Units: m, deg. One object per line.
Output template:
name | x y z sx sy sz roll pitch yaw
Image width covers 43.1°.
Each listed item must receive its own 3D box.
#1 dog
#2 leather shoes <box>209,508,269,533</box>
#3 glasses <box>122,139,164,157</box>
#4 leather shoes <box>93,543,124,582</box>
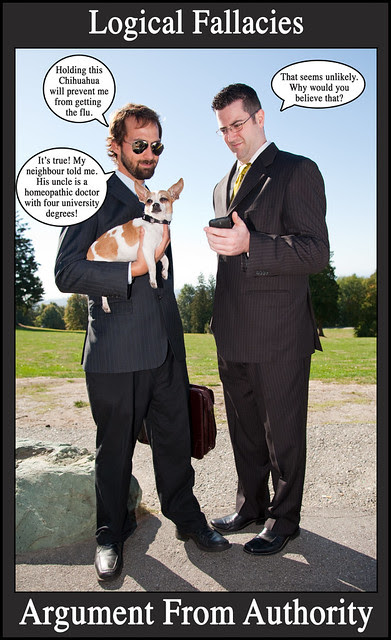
dog | -0.325 -0.573 3.175 0.372 0.721 0.726 2 4 36
leather shoes | 0.333 1.508 3.714 0.391 0.178 0.155 2 -4 -7
glasses | -0.315 -1.086 3.103 0.252 0.097 0.089 -2 4 -22
leather shoes | -0.542 1.529 3.110 0.166 0.157 0.223 -1 4 -11
